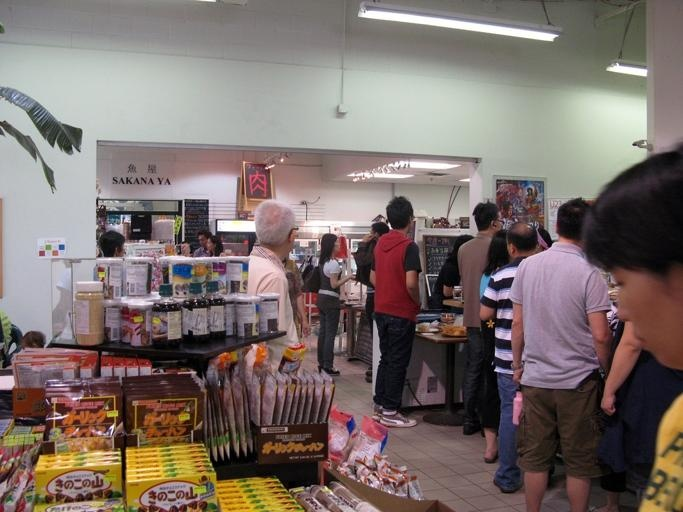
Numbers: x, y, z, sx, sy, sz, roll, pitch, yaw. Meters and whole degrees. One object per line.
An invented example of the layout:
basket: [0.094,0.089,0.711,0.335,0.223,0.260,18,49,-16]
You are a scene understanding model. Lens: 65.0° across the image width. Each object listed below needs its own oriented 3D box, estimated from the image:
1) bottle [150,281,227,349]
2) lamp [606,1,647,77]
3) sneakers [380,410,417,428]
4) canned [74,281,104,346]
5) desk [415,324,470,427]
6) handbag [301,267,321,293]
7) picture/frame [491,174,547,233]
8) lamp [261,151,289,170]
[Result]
bottle: [-0.641,0.259,2.239,0.251,0.207,0.081,2,-7,-37]
lamp: [3.811,-2.884,7.138,0.458,1.111,1.080,1,5,28]
sneakers: [0.592,1.607,5.339,0.422,0.201,0.158,1,-2,-15]
canned: [-1.054,0.243,2.242,0.117,0.263,0.081,-3,4,-25]
desk: [1.105,1.255,5.522,0.766,0.796,0.770,1,-3,-8]
handbag: [-0.382,0.320,7.517,0.219,0.367,0.367,1,28,7]
picture/frame: [2.086,-0.644,6.369,0.847,0.867,0.033,0,6,-15]
lamp: [-1.497,-2.120,11.893,0.652,0.280,1.029,-16,4,-3]
